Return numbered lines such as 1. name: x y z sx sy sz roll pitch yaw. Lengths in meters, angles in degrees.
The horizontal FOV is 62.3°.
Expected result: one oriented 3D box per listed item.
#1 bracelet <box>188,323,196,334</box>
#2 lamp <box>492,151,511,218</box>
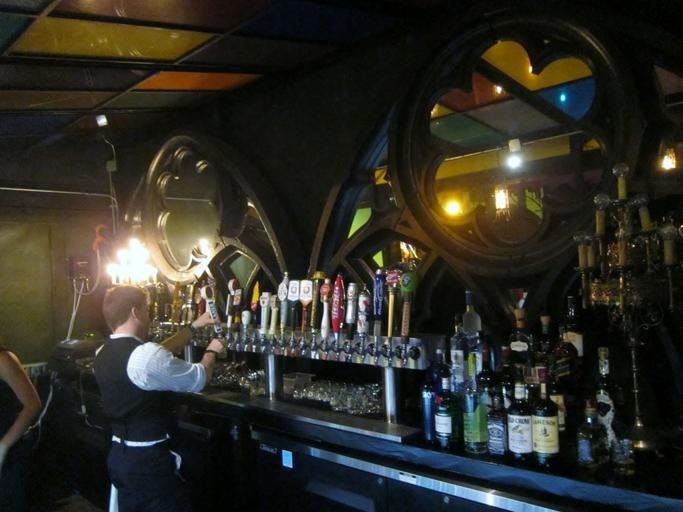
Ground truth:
1. bracelet: -1.084 0.530 4.128 0.037 0.053 0.058 27 36 28
2. lamp: 1.035 -0.447 3.669 0.098 0.453 0.264 0 -10 17
